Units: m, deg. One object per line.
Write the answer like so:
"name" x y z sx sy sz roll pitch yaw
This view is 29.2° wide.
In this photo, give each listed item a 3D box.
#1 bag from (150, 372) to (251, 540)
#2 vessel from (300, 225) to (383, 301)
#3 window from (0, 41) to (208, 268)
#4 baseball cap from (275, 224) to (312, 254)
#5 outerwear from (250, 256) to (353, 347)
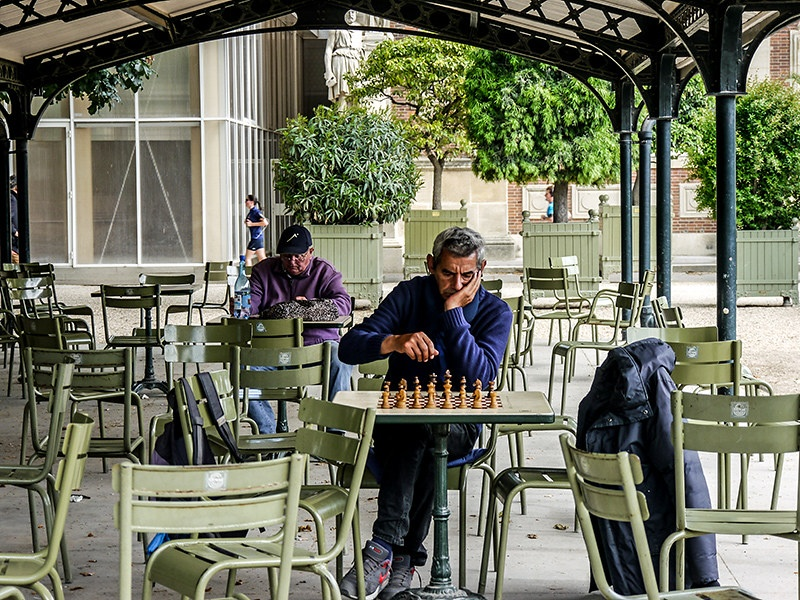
"bag" -1.627 1.248 12.342 0.795 1.301 0.812 0 2 7
"vessel" -0.950 -0.660 25.085 1.156 1.906 1.121 0 1 -3
"window" -5.535 -2.860 29.191 4.109 4.316 0.182 -2 3 9
"baseball cap" -1.058 -0.603 15.510 0.215 0.207 0.340 5 12 11
"outerwear" -1.086 0.138 15.712 1.014 1.266 0.916 3 -3 6
